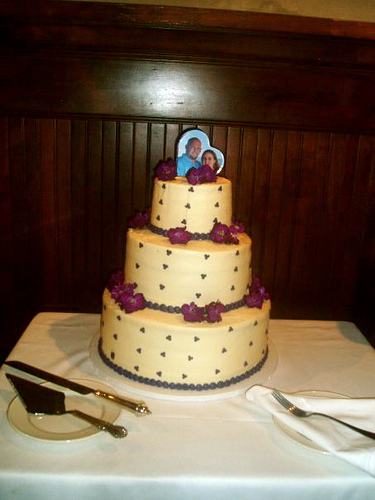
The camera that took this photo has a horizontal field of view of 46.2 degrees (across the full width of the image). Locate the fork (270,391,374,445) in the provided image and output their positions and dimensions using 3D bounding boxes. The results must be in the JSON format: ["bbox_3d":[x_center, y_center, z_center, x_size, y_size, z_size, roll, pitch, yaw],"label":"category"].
[{"bbox_3d":[0.458,0.585,1.512,0.039,0.035,0.329,-2,17,-40],"label":"fork"}]

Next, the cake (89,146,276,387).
[{"bbox_3d":[0.021,0.046,2.168,0.934,0.888,0.899,9,16,19],"label":"cake"}]
